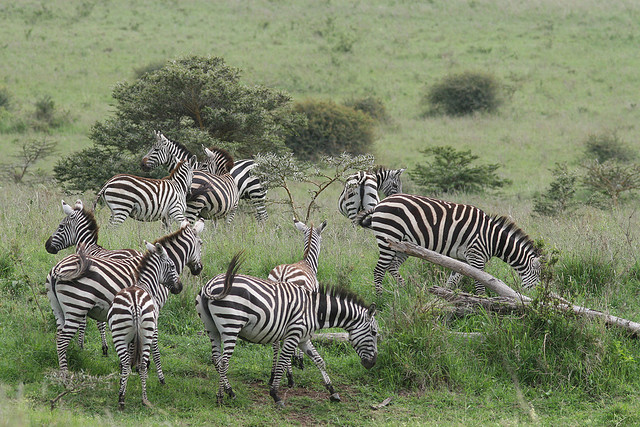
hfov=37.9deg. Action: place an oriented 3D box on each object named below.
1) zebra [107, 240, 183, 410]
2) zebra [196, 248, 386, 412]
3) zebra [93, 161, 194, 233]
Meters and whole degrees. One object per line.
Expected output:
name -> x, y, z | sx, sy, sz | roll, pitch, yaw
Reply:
zebra -> -6.906, 4.317, 36.326 | 2.508, 6.340, 1.240 | -4, 11, -33
zebra -> -1.207, 4.626, 37.265 | 7.478, 6.549, 2.461 | 5, 21, -16
zebra -> -7.422, -0.455, 40.596 | 4.861, 3.740, 1.647 | -2, -1, -24
